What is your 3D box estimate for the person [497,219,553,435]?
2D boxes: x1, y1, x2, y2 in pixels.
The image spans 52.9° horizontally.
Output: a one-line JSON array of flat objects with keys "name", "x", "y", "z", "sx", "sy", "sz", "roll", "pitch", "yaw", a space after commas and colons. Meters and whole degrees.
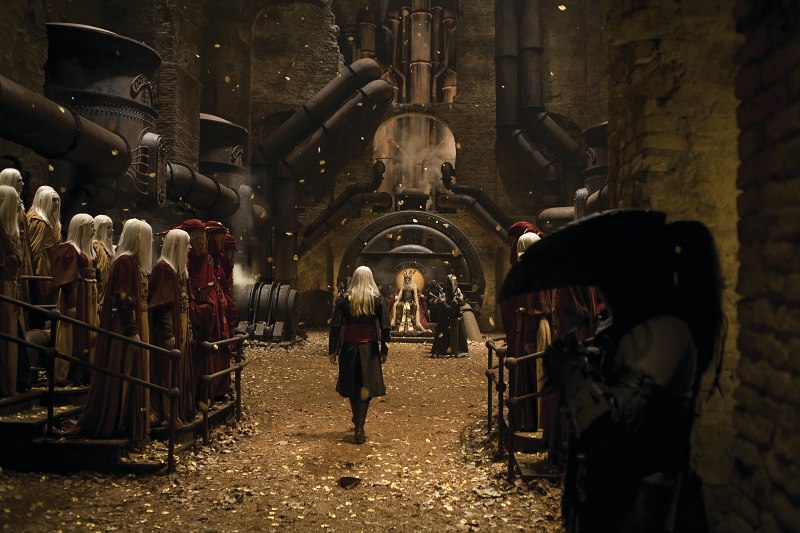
[{"name": "person", "x": 1.744, "y": 0.900, "z": 11.170, "sx": 0.685, "sy": 2.683, "sz": 1.387, "roll": 3, "pitch": 10, "yaw": 6}]

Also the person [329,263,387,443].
[{"name": "person", "x": -0.603, "y": 1.291, "z": 11.969, "sx": 0.896, "sy": 2.514, "sz": 0.937, "roll": 0, "pitch": 10, "yaw": -9}]
